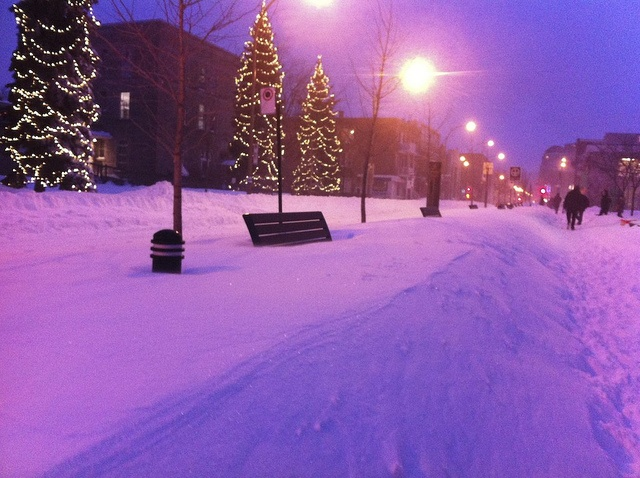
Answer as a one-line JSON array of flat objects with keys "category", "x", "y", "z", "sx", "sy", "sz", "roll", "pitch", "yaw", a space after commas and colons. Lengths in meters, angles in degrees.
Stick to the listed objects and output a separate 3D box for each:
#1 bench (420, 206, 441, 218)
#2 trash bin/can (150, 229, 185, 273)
[{"category": "bench", "x": 4.353, "y": -1.093, "z": 19.406, "sx": 0.058, "sy": 0.456, "sz": 1.123, "roll": -10, "pitch": -2, "yaw": 39}, {"category": "trash bin/can", "x": -2.676, "y": 0.131, "z": 8.546, "sx": 0.576, "sy": 1.008, "sz": 0.586, "roll": 1, "pitch": 1, "yaw": -5}]
